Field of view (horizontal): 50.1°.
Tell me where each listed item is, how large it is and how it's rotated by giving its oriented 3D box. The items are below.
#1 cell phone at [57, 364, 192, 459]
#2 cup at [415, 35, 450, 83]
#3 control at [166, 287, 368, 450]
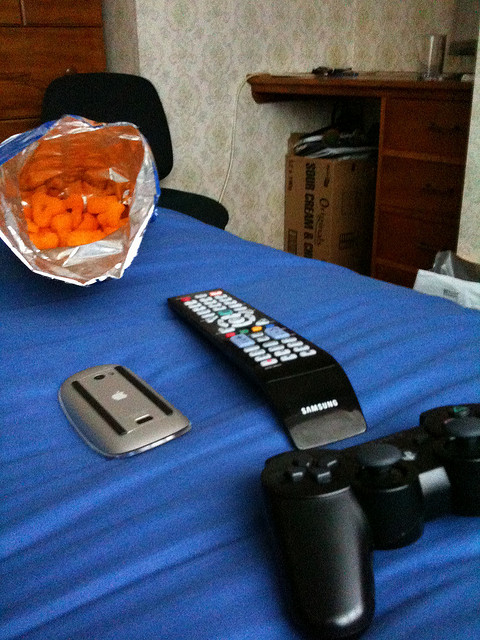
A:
[{"bbox_3d":[-0.083,0.058,0.357,0.064,0.018,0.107,-15,32,-32],"label":"cell phone"},{"bbox_3d":[0.627,-0.874,1.694,0.090,0.141,0.084,-5,37,4],"label":"cup"},{"bbox_3d":[0.010,0.025,0.428,0.061,0.036,0.229,-12,25,-26],"label":"control"}]
